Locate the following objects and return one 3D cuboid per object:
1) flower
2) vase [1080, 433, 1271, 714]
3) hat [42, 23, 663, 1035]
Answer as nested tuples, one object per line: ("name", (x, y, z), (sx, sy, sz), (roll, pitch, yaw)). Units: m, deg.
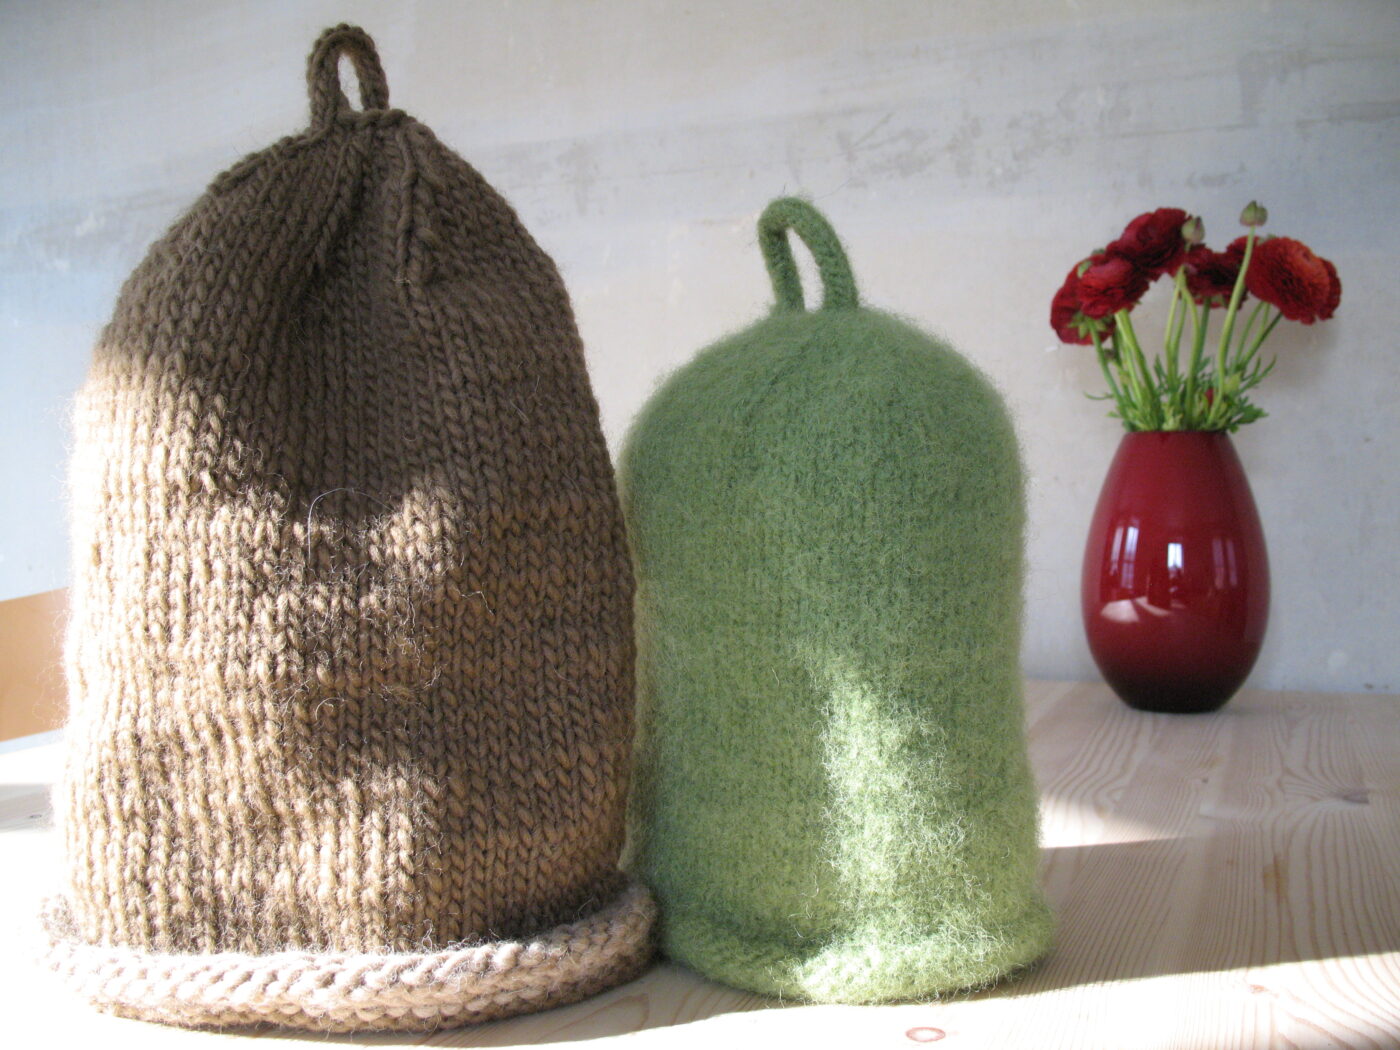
("flower", (0.495, -0.199, 1.523), (0.273, 0.276, 0.280), (1, 1, -18))
("vase", (0.477, 0.040, 1.538), (0.187, 0.283, 0.186), (0, 3, 38))
("hat", (-0.232, -0.002, 0.946), (0.369, 0.608, 0.228), (-6, 13, -23))
